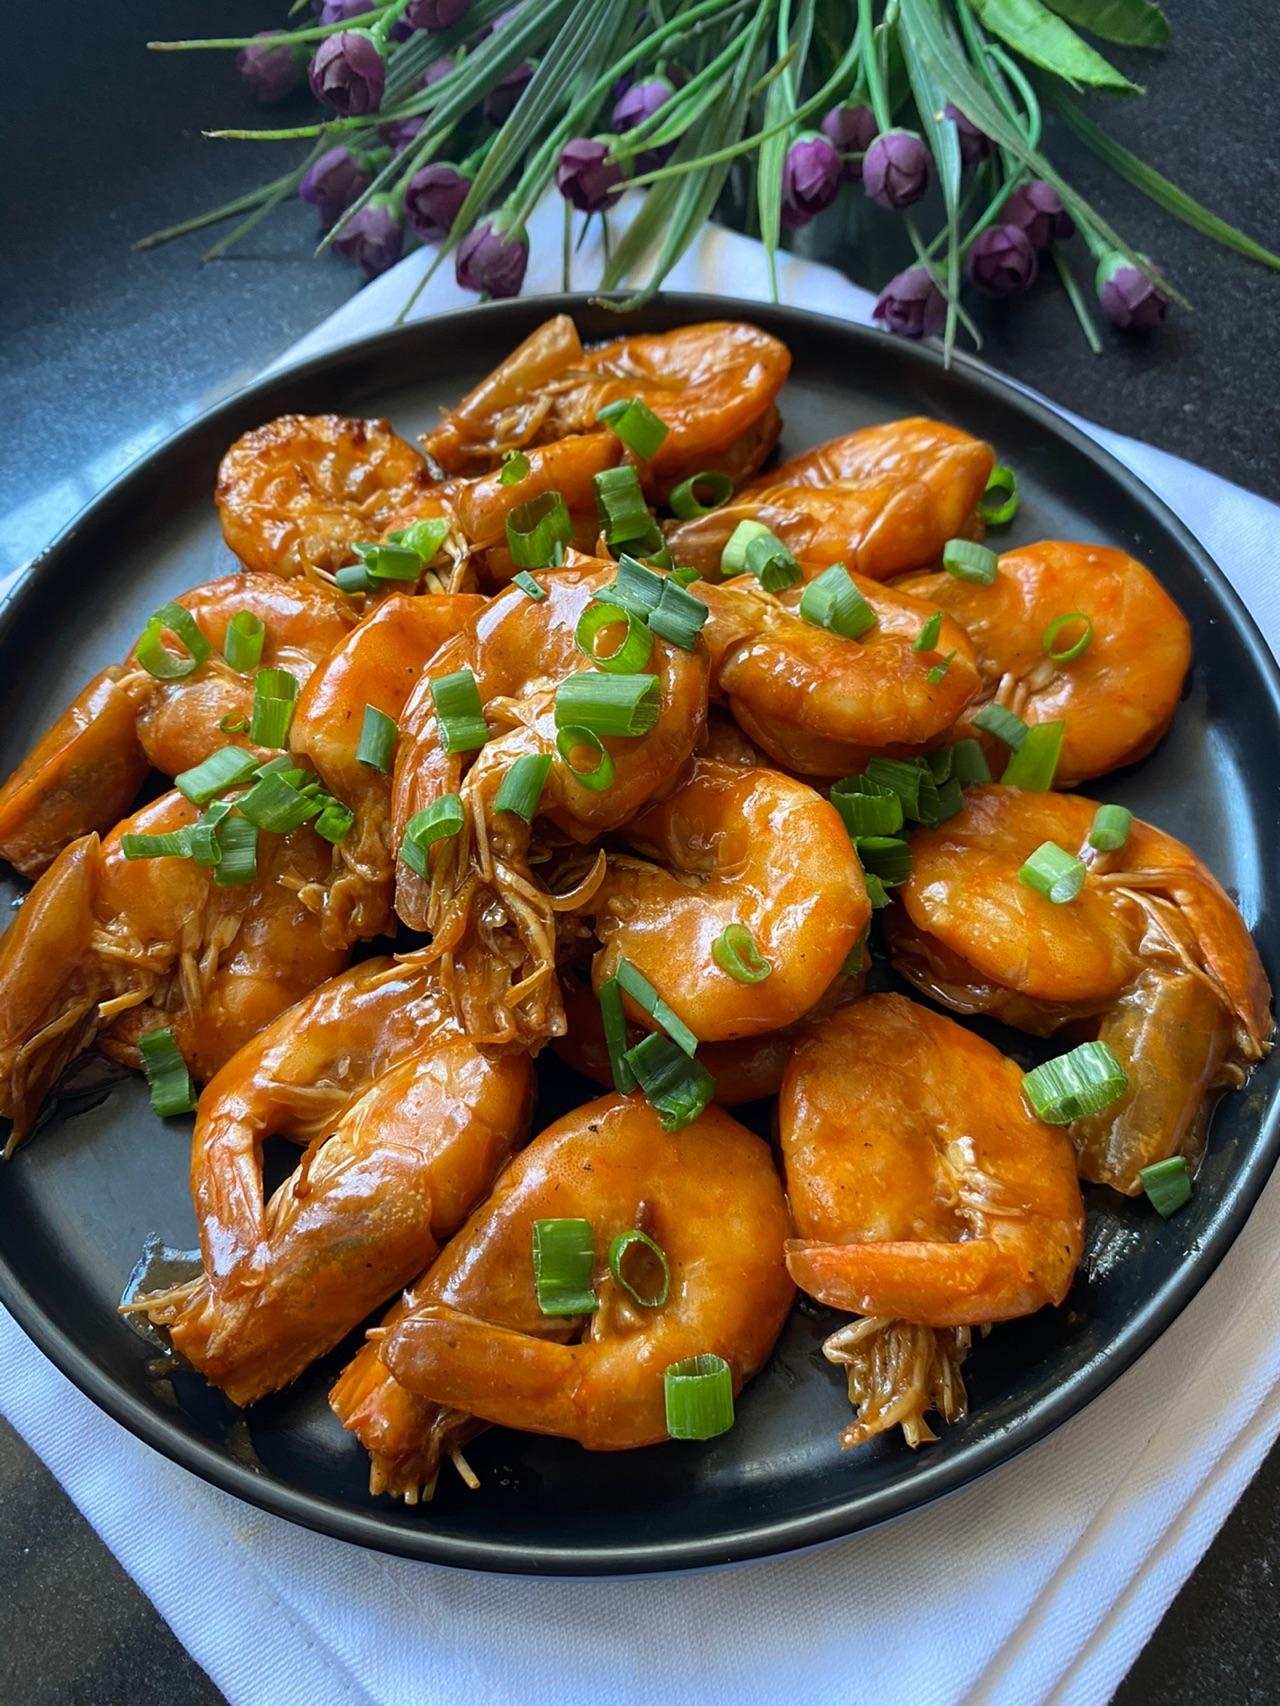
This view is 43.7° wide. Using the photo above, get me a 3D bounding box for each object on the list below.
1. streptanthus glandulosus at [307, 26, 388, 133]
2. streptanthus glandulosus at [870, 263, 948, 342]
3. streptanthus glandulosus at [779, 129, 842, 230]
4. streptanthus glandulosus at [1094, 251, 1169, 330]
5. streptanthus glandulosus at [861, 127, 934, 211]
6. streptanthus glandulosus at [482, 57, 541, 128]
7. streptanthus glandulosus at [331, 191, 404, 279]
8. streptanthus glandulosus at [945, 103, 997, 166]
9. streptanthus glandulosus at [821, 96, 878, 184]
[{"bbox_3d":[-0.508,-1.329,2.755,0.110,0.089,0.160,2,49,-3],"label":"streptanthus glandulosus"},{"bbox_3d":[0.471,-0.938,2.791,0.145,0.072,0.153,4,63,-7],"label":"streptanthus glandulosus"},{"bbox_3d":[0.294,-1.125,2.683,0.133,0.061,0.131,-3,93,2],"label":"streptanthus glandulosus"},{"bbox_3d":[0.858,-0.968,2.816,0.091,0.074,0.145,-37,80,6],"label":"streptanthus glandulosus"},{"bbox_3d":[0.431,-1.147,2.744,0.127,0.140,0.125,-13,28,19],"label":"streptanthus glandulosus"},{"bbox_3d":[-0.255,-1.414,2.987,0.083,0.134,0.032,37,42,-16],"label":"streptanthus glandulosus"},{"bbox_3d":[-0.501,-1.145,2.957,0.102,0.072,0.152,19,51,-5],"label":"streptanthus glandulosus"},{"bbox_3d":[0.562,-1.233,2.757,0.075,0.035,0.085,-31,110,-23],"label":"streptanthus glandulosus"},{"bbox_3d":[0.375,-1.272,2.875,0.120,0.061,0.117,5,88,4],"label":"streptanthus glandulosus"}]
